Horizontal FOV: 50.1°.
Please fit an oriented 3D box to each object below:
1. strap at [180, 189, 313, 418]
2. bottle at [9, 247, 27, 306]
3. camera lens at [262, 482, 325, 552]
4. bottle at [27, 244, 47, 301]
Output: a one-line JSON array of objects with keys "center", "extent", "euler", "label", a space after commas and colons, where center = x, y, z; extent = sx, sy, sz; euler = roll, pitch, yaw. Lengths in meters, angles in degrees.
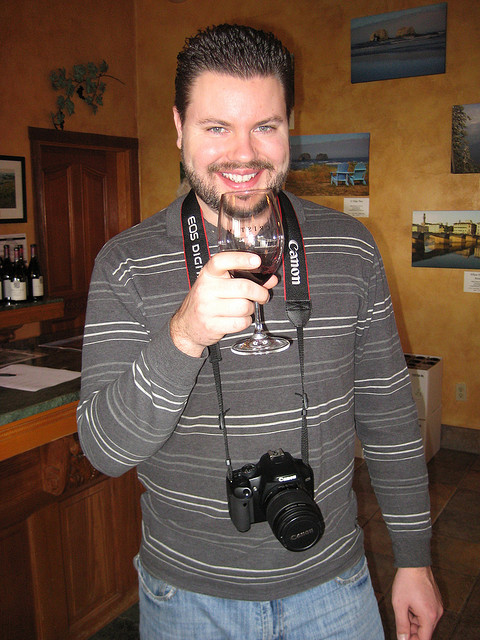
[{"center": [0.033, -0.030, 0.974], "extent": [0.260, 0.388, 0.244], "euler": [-8, 21, -42], "label": "strap"}, {"center": [-1.816, -0.356, 4.164], "extent": [0.134, 0.455, 0.211], "euler": [-6, 11, -22], "label": "bottle"}, {"center": [0.078, 0.290, 0.759], "extent": [0.072, 0.084, 0.084], "euler": [-4, 10, -12], "label": "camera lens"}, {"center": [-1.746, -0.404, 4.352], "extent": [0.124, 0.462, 0.218], "euler": [-6, 11, -20], "label": "bottle"}]
